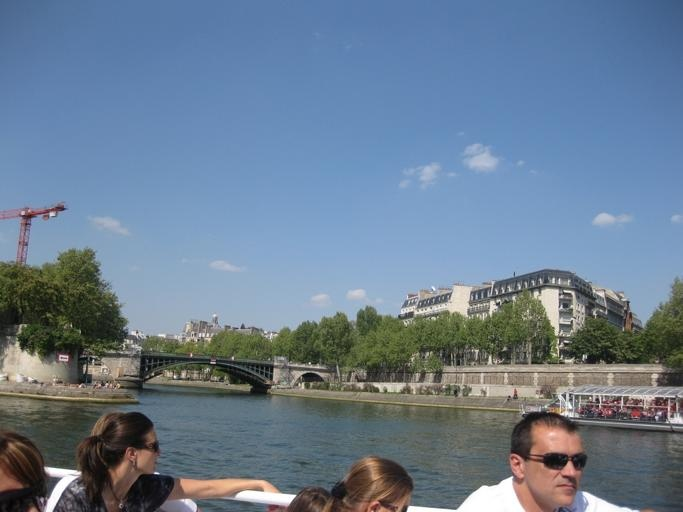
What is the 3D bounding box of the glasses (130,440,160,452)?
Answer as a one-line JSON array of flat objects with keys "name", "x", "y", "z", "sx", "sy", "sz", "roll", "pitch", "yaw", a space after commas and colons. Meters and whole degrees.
[{"name": "glasses", "x": -2.320, "y": 2.274, "z": 8.883, "sx": 0.205, "sy": 0.071, "sz": 0.157, "roll": 1, "pitch": -4, "yaw": 0}]
